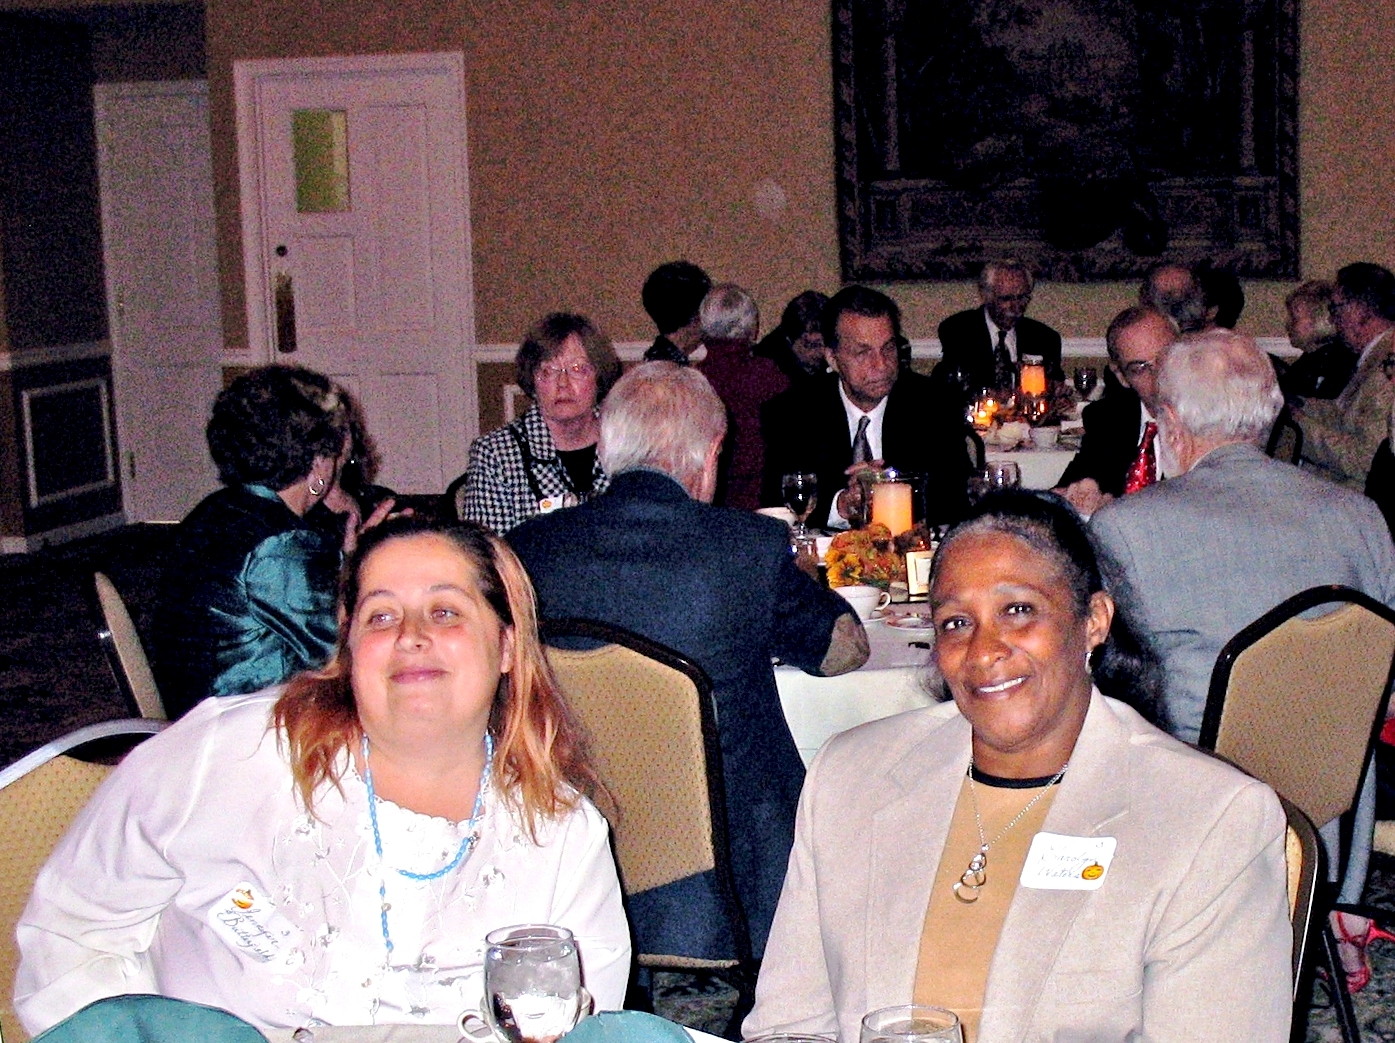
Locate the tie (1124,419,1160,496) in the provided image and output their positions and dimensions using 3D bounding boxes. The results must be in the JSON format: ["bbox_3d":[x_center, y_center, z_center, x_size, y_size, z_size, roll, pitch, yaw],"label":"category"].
[{"bbox_3d":[1.314,-0.187,3.925,0.047,0.358,0.050,13,-23,0],"label":"tie"}]

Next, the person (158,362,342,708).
[{"bbox_3d":[-0.917,0.058,2.818,0.387,0.866,0.419,7,39,-13],"label":"person"}]

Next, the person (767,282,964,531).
[{"bbox_3d":[0.561,-0.196,4.460,0.672,1.106,0.575,-1,-2,-2],"label":"person"}]

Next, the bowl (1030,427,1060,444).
[{"bbox_3d":[1.389,-0.343,5.296,0.075,0.065,0.079,-1,0,0],"label":"bowl"}]

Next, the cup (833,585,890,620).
[{"bbox_3d":[0.390,0.187,3.158,0.098,0.066,0.093,-2,1,0],"label":"cup"}]

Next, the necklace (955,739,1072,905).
[{"bbox_3d":[0.406,0.416,1.798,0.107,0.206,0.036,10,-20,33],"label":"necklace"}]
